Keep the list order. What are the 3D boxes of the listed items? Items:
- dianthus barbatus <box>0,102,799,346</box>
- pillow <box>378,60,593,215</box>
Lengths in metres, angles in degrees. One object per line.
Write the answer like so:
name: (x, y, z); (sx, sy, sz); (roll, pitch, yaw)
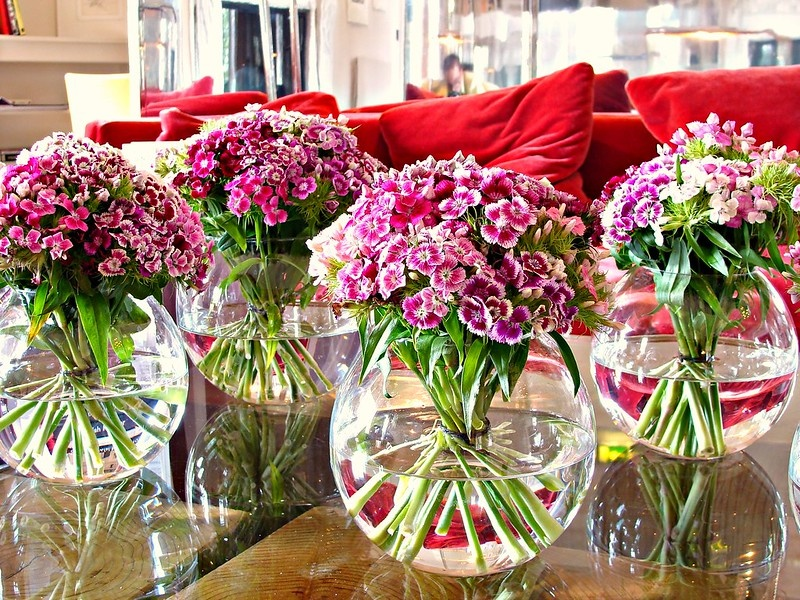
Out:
dianthus barbatus: (0.029, -0.108, 0.876); (0.630, 0.285, 0.209); (4, 6, 35)
pillow: (0.333, -0.523, 2.299); (0.586, 0.667, 0.216); (0, -17, 23)
